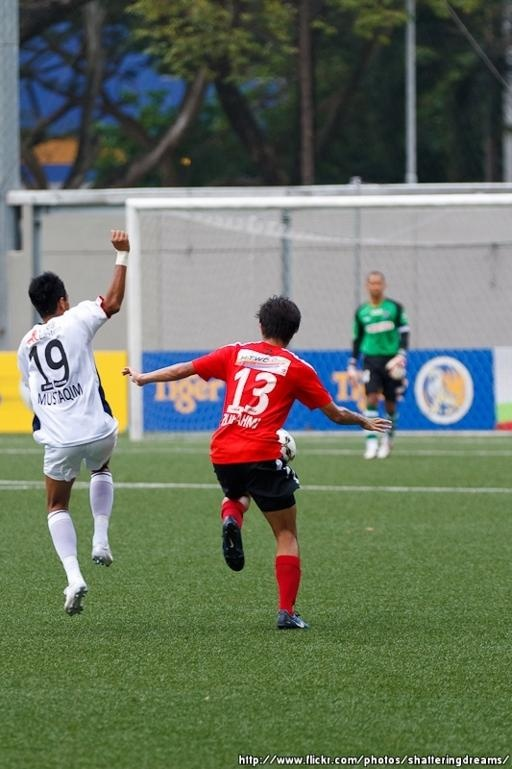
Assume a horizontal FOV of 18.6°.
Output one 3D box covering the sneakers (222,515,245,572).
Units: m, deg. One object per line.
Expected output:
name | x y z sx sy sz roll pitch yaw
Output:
sneakers | -0.106 0.704 6.853 0.082 0.249 0.111 -4 7 -4

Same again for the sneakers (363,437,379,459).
sneakers | 0.978 0.562 13.353 0.076 0.111 0.245 0 12 9

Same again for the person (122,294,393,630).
person | 0.040 0.339 6.979 0.927 1.439 0.514 0 5 4

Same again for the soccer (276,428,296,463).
soccer | 0.142 0.283 7.049 0.113 0.152 0.123 -7 -2 4

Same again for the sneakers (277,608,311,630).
sneakers | 0.150 1.037 6.859 0.171 0.086 0.061 5 1 -36

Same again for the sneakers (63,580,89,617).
sneakers | -0.782 0.928 6.772 0.101 0.084 0.201 -17 -9 -3

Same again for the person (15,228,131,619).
person | -0.866 0.156 7.103 0.452 1.667 0.754 0 5 10
